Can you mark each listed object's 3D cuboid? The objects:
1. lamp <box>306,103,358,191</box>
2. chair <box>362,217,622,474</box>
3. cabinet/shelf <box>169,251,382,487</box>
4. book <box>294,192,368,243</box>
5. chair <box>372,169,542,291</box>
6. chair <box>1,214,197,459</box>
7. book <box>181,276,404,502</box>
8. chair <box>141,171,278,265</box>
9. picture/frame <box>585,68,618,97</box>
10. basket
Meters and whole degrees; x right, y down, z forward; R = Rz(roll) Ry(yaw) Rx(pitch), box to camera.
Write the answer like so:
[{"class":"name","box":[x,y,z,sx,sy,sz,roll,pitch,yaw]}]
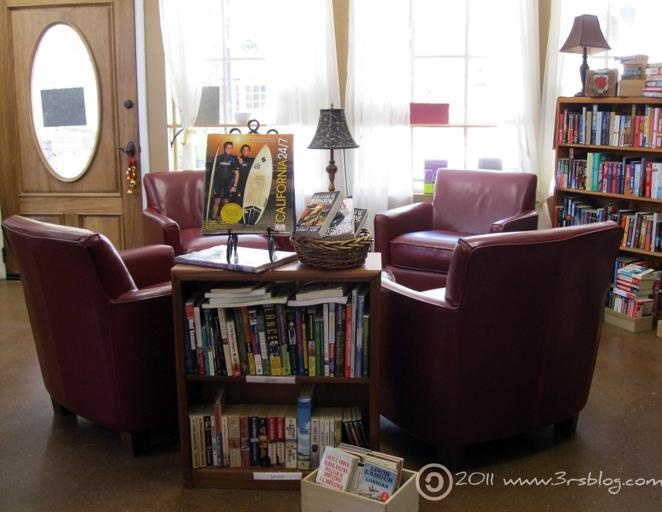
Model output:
[{"class":"lamp","box":[-0.002,-0.752,4.007,0.353,0.669,0.383,16,27,35]},{"class":"chair","box":[0.716,0.330,2.597,0.902,1.060,0.941,-6,12,-16]},{"class":"cabinet/shelf","box":[-0.211,0.501,2.344,0.820,0.967,0.332,0,8,4]},{"class":"book","box":[-0.015,-0.174,2.429,0.382,0.098,0.399,0,33,10]},{"class":"chair","box":[0.931,-0.115,4.040,1.044,1.007,1.000,-8,15,-37]},{"class":"chair","box":[-1.046,0.336,2.546,0.572,1.060,0.755,-14,17,-40]},{"class":"book","box":[-0.178,0.537,2.223,0.821,0.937,0.295,0,5,2]},{"class":"chair","box":[-1.082,-0.176,4.178,0.673,0.850,0.699,-16,22,-37]},{"class":"picture/frame","box":[1.968,-1.260,4.001,0.205,0.207,0.210,1,7,17]},{"class":"basket","box":[0.001,-0.025,2.321,0.362,0.161,0.427,3,6,22]}]
